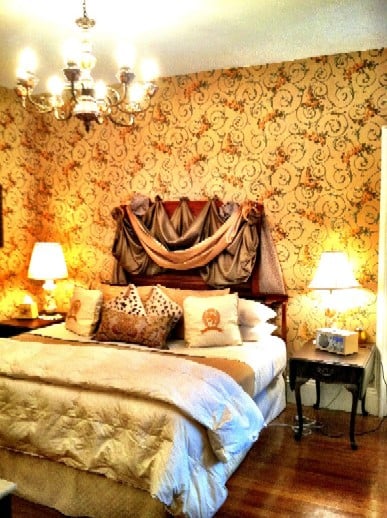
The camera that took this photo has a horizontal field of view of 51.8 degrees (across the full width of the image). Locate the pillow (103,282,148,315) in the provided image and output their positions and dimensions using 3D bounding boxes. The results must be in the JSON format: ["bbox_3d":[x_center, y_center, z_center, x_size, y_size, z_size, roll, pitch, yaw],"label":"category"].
[{"bbox_3d":[-0.502,0.325,3.065,0.217,0.068,0.256,-34,25,-30],"label":"pillow"}]

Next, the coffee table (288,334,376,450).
[{"bbox_3d":[0.927,0.860,2.656,0.463,0.498,0.500,-5,6,-43],"label":"coffee table"}]

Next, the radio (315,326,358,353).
[{"bbox_3d":[0.985,0.503,2.687,0.157,0.145,0.235,1,-1,-37],"label":"radio"}]

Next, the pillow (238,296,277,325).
[{"bbox_3d":[0.445,0.391,2.997,0.220,0.101,0.210,6,8,-15],"label":"pillow"}]

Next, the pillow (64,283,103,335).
[{"bbox_3d":[-0.861,0.407,3.164,0.362,0.358,0.137,4,-11,45],"label":"pillow"}]

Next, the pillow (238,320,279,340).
[{"bbox_3d":[0.462,0.529,2.931,0.178,0.074,0.177,-6,-1,3],"label":"pillow"}]

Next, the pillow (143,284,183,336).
[{"bbox_3d":[-0.236,0.372,2.991,0.099,0.308,0.323,25,14,-45],"label":"pillow"}]
